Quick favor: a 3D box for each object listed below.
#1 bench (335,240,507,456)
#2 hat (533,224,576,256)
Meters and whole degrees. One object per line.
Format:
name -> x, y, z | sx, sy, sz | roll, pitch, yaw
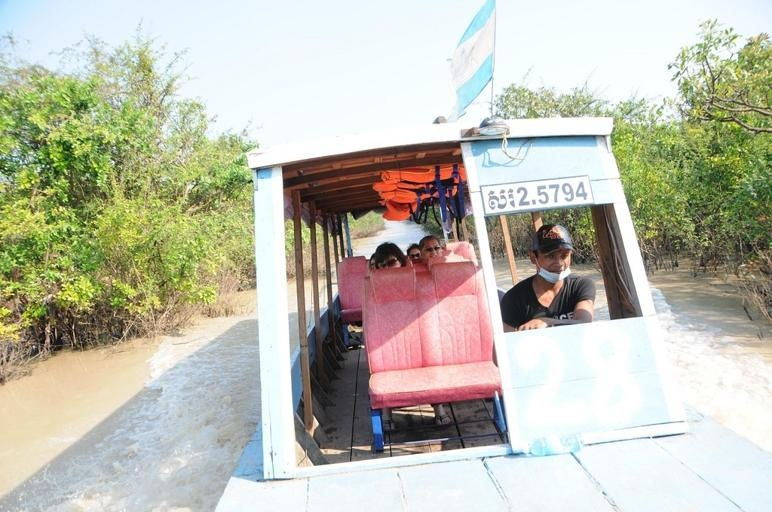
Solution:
bench -> 0.487, 1.127, 6.378 | 1.712, 2.197, 2.369 | -4, 6, 0
hat -> 1.956, -0.204, 5.404 | 0.303, 0.251, 0.430 | -4, -8, 1
